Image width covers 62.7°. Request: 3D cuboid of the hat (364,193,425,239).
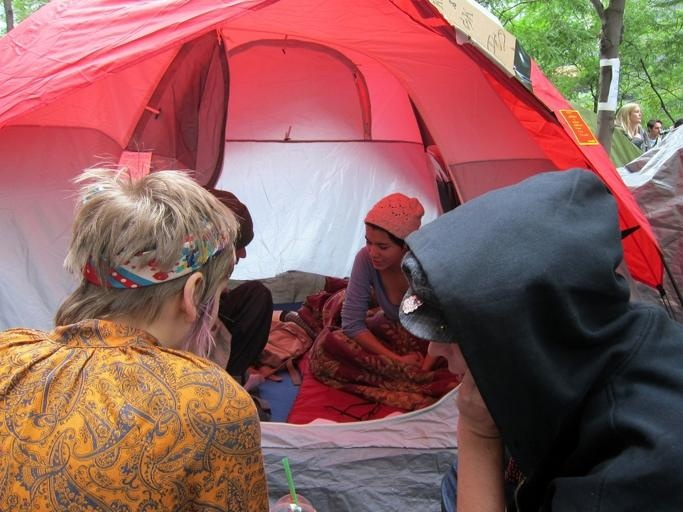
[{"bbox_3d":[0.296,-0.213,3.035,0.238,0.164,0.336,26,22,5],"label":"hat"}]
